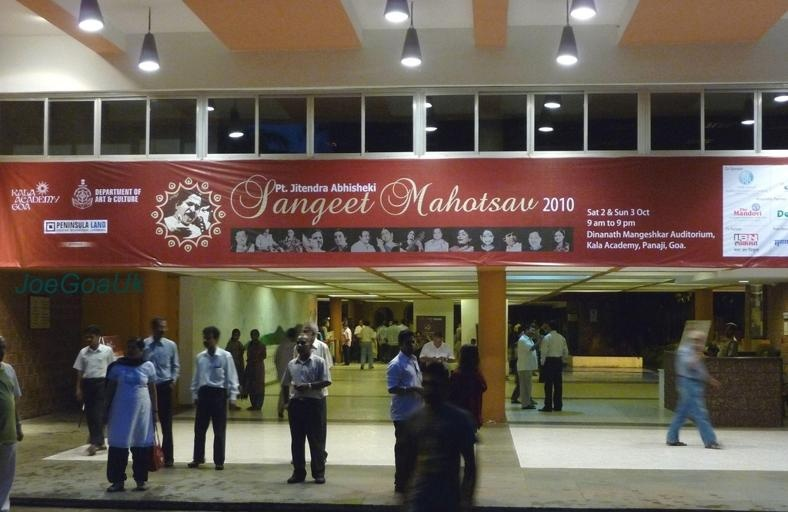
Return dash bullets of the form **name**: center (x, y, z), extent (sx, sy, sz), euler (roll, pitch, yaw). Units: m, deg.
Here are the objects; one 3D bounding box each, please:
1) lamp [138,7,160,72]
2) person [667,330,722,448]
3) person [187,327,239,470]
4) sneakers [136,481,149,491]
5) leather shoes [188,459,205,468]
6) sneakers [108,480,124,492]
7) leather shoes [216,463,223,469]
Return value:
- **lamp**: center (-5.118, -4.497, 16.687), extent (0.337, 1.369, 1.017), euler (1, -5, -15)
- **person**: center (5.901, 2.673, 15.892), extent (0.931, 2.387, 0.926), euler (-1, -5, 12)
- **person**: center (-3.299, 2.597, 14.525), extent (0.827, 2.581, 0.959), euler (1, -5, -14)
- **sneakers**: center (-4.248, 3.894, 13.399), extent (0.217, 0.190, 0.106), euler (0, -3, -5)
- **leather shoes**: center (-3.619, 3.827, 14.580), extent (0.323, 0.124, 0.121), euler (3, 1, -6)
- **sneakers**: center (-4.686, 3.894, 13.407), extent (0.292, 0.147, 0.293), euler (1, -5, -13)
- **leather shoes**: center (-3.155, 3.831, 14.427), extent (0.155, 0.106, 0.138), euler (2, -5, -29)
